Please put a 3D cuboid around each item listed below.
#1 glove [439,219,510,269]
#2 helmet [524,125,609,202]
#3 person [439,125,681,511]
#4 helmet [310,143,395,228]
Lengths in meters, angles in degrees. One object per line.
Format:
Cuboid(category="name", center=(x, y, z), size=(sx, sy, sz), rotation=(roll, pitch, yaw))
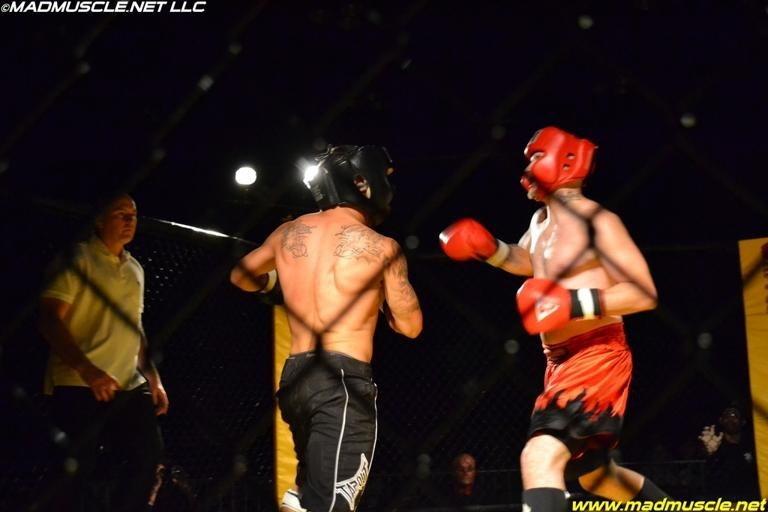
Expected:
Cuboid(category="glove", center=(0.692, -0.130, 5.400), size=(0.452, 0.201, 0.320), rotation=(24, -29, -10))
Cuboid(category="helmet", center=(1.242, -0.619, 5.145), size=(0.512, 0.476, 0.382), rotation=(13, -7, -3))
Cuboid(category="person", center=(1.169, 0.400, 4.897), size=(1.254, 2.593, 0.740), rotation=(8, -13, 17))
Cuboid(category="helmet", center=(-0.200, -0.478, 5.125), size=(0.578, 0.518, 0.433), rotation=(-2, -8, -8))
